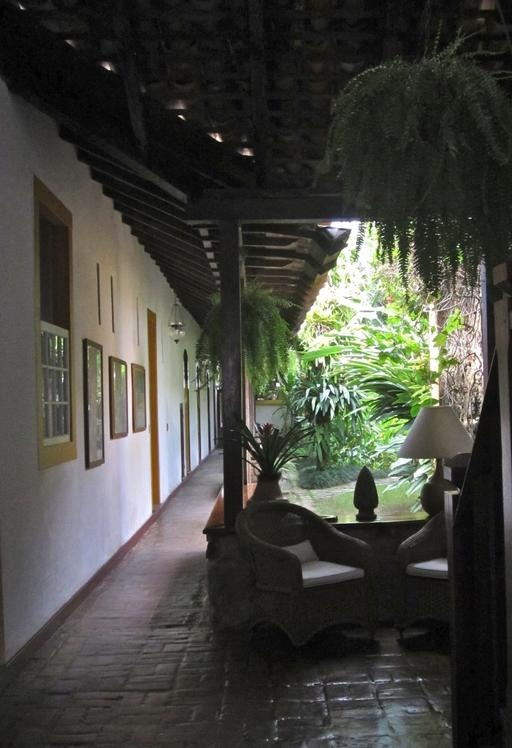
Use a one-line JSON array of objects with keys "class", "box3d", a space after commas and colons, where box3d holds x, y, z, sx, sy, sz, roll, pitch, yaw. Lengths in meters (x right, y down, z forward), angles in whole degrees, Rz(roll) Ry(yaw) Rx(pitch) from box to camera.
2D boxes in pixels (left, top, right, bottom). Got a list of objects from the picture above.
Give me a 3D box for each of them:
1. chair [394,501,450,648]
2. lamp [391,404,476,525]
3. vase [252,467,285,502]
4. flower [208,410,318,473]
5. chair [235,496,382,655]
[{"class": "chair", "box3d": [0.903, 1.093, 3.135, 0.287, 0.599, 0.245, -4, -7, 22]}, {"class": "lamp", "box3d": [1.137, 0.553, 3.725, 0.583, 0.975, 0.673, 1, 4, 22]}, {"class": "vase", "box3d": [0.078, 0.731, 3.751, 0.178, 0.190, 0.177, 5, -7, -2]}, {"class": "flower", "box3d": [0.116, 0.485, 4.109, 0.795, 0.562, 0.863, 0, -8, 9]}, {"class": "chair", "box3d": [0.282, 1.088, 3.211, 0.783, 0.694, 0.558, -1, -6, -4]}]
